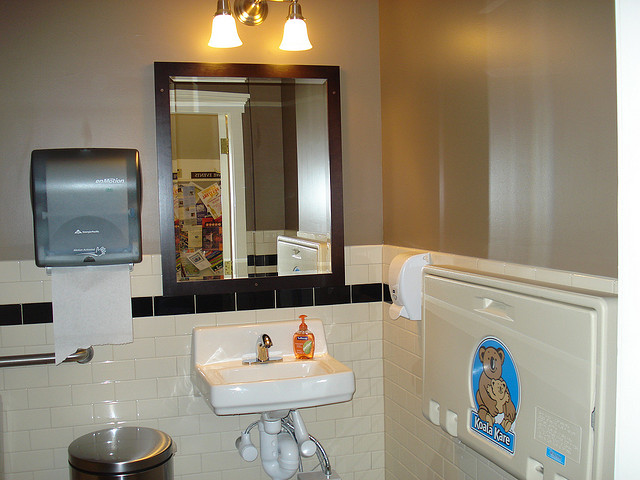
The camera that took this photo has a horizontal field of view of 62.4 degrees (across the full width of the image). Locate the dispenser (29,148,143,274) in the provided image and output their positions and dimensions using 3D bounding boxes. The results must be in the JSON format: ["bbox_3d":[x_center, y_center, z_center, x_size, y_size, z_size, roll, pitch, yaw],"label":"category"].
[{"bbox_3d":[-0.986,-0.133,2.210,0.500,0.566,0.179,-1,1,-13],"label":"dispenser"}]

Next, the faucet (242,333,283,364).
[{"bbox_3d":[-0.256,0.500,2.431,0.180,0.140,0.147,0,-3,-35],"label":"faucet"}]

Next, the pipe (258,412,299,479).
[{"bbox_3d":[-0.203,0.900,2.327,0.159,0.315,0.172,4,7,-16],"label":"pipe"}]

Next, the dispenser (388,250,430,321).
[{"bbox_3d":[0.373,0.196,2.282,0.148,0.287,0.146,2,3,-13],"label":"dispenser"}]
